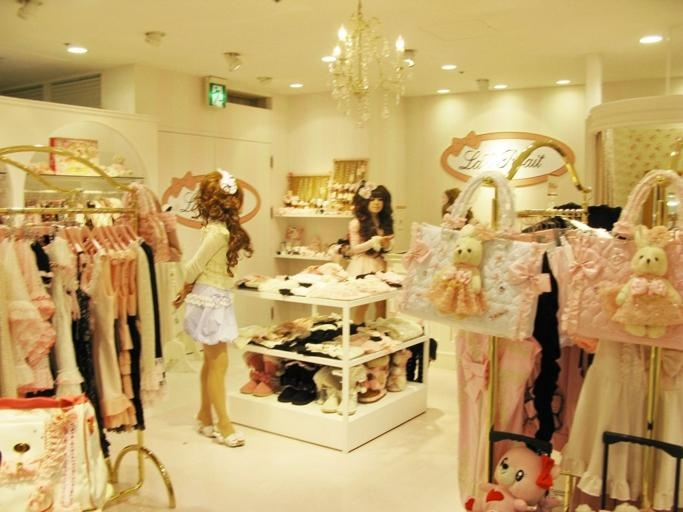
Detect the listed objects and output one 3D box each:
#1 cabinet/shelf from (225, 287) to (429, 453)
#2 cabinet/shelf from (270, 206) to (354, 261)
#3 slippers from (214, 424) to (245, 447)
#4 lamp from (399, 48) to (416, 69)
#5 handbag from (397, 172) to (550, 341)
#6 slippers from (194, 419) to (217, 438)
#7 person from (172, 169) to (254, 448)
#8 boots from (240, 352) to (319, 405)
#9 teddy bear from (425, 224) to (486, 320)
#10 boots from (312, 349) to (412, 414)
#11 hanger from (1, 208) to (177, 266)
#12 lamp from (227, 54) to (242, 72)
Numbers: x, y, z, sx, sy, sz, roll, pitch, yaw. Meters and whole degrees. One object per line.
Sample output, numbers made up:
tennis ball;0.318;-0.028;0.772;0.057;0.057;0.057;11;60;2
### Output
cabinet/shelf;-0.025;0.831;4.511;1.366;1.005;1.385;2;4;28
cabinet/shelf;-0.388;-0.283;6.906;1.051;0.682;0.419;4;8;34
slippers;-0.850;1.345;3.913;0.210;0.062;0.126;5;2;37
lamp;0.621;-1.833;4.876;0.160;0.129;0.165;6;13;16
handbag;0.507;-0.010;2.057;0.587;0.624;0.223;2;8;17
slippers;-1.046;1.348;4.096;0.244;0.083;0.083;15;9;35
person;-0.953;0.392;3.884;0.553;2.028;0.440;-1;8;-8
boots;-0.491;0.971;4.300;0.577;0.434;0.430;1;-4;7
teddy bear;0.500;0.079;2.055;0.230;0.328;0.285;-9;12;-37
boots;0.190;0.979;4.232;0.318;0.315;0.967;2;6;39
hanger;-1.273;-0.095;2.782;0.347;0.312;0.813;4;7;33
lamp;-1.044;-1.866;5.060;0.145;0.133;0.280;-1;6;-10
